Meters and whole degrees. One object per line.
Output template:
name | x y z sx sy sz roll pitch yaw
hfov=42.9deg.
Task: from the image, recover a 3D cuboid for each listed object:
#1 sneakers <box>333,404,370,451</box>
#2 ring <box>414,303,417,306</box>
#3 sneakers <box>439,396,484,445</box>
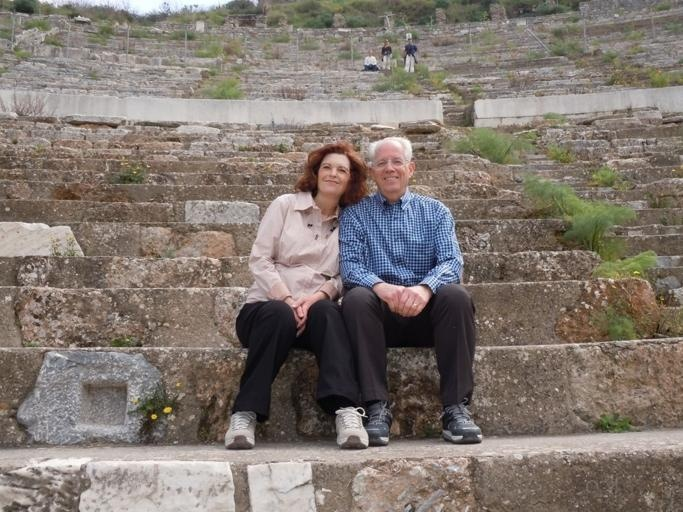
sneakers | 0.084 1.212 6.217 0.228 0.247 0.374 -3 16 -2
ring | 0.550 0.355 6.446 0.021 0.021 0.006 12 3 9
sneakers | 0.861 1.205 6.233 0.212 0.294 0.280 -6 17 -12
